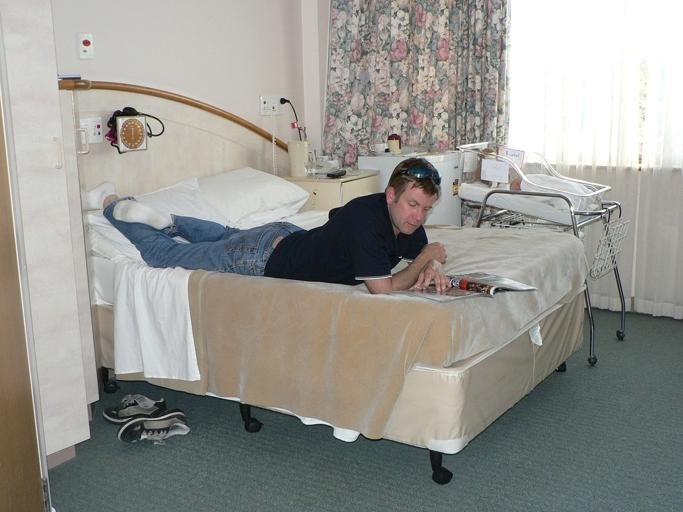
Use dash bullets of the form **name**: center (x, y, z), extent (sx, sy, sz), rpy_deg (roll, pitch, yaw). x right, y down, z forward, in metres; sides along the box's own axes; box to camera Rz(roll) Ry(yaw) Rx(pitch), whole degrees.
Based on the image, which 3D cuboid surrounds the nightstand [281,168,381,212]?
- **nightstand**: center (-0.154, -0.415, 4.477), extent (0.526, 0.432, 0.314), rpy_deg (12, -2, 21)

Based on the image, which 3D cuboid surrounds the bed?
- **bed**: center (-0.174, -0.017, 3.288), extent (2.378, 1.730, 1.735), rpy_deg (6, 16, 31)

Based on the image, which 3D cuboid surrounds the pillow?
- **pillow**: center (-0.791, -0.379, 3.732), extent (0.937, 0.309, 0.612), rpy_deg (-15, 23, -36)

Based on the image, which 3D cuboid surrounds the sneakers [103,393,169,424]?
- **sneakers**: center (-1.066, 0.800, 2.881), extent (0.304, 0.141, 0.152), rpy_deg (1, 1, -2)

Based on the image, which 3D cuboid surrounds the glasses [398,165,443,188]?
- **glasses**: center (0.342, -0.338, 2.441), extent (0.106, 0.039, 0.110), rpy_deg (8, -8, -34)

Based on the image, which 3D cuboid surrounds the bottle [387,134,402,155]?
- **bottle**: center (0.453, -0.947, 4.658), extent (0.141, 0.223, 0.152), rpy_deg (0, 7, 0)

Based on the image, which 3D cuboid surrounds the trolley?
- **trolley**: center (1.429, -0.026, 3.874), extent (1.021, 1.372, 0.631), rpy_deg (6, 13, 39)

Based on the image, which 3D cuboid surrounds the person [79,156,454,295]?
- **person**: center (-0.388, -0.220, 2.955), extent (1.987, 0.774, 0.757), rpy_deg (7, 15, 24)

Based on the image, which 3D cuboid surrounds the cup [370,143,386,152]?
- **cup**: center (0.318, -0.936, 4.776), extent (0.098, 0.058, 0.072), rpy_deg (1, 8, 32)

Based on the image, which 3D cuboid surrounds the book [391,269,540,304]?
- **book**: center (0.553, 0.157, 2.431), extent (0.675, 0.105, 0.292), rpy_deg (-5, 15, -16)
